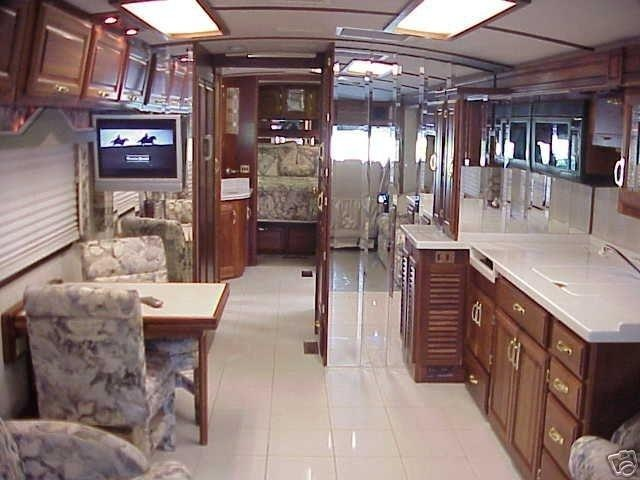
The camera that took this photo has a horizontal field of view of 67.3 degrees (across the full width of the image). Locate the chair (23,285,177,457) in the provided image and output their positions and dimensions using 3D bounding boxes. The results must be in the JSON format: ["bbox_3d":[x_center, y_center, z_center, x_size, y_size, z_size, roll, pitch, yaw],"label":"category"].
[{"bbox_3d":[-1.247,0.773,2.885,0.852,1.206,0.923,2,10,-26],"label":"chair"}]

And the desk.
[{"bbox_3d":[-1.218,0.629,3.133,1.101,0.751,1.023,0,12,-1],"label":"desk"}]
